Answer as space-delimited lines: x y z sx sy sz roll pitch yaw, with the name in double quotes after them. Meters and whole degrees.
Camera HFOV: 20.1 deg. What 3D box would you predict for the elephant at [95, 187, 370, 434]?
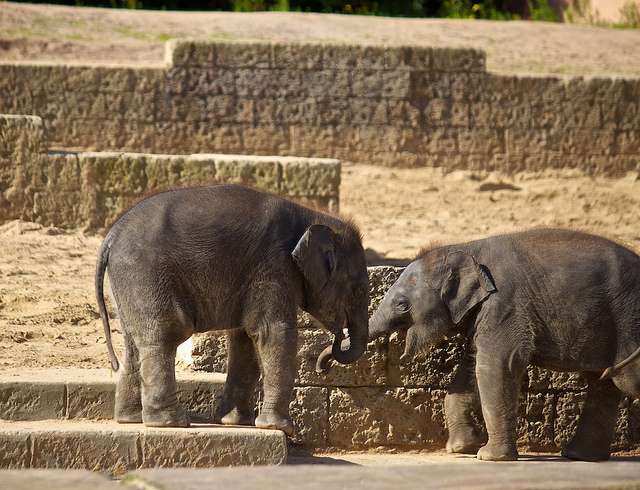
-0.848 0.729 19.964 3.230 2.678 1.745 1 -2 -22 "elephant"
